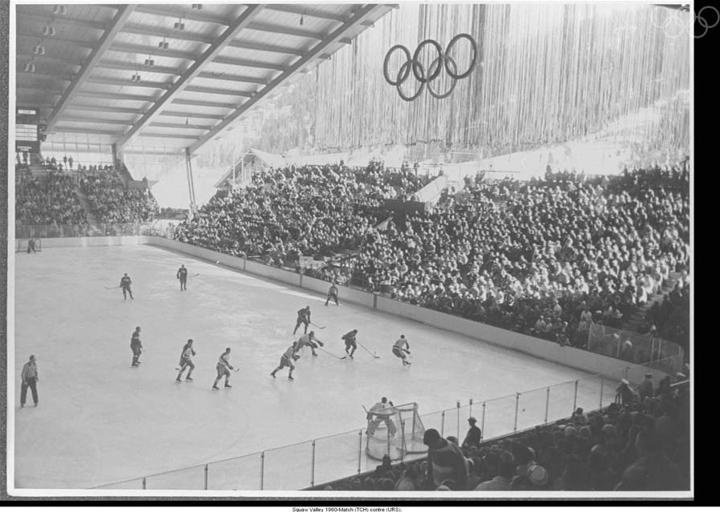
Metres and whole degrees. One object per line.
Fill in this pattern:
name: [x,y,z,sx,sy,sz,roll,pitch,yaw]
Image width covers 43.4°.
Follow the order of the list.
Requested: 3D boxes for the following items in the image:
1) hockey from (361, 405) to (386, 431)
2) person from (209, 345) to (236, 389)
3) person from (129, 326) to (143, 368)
hockey: [0.273,2.998,16.759,0.136,0.426,0.314,22,6,-36]
person: [-2.749,2.262,18.267,0.433,0.783,0.528,4,-1,-5]
person: [-4.634,1.862,18.704,0.269,0.790,0.556,4,-1,-14]
